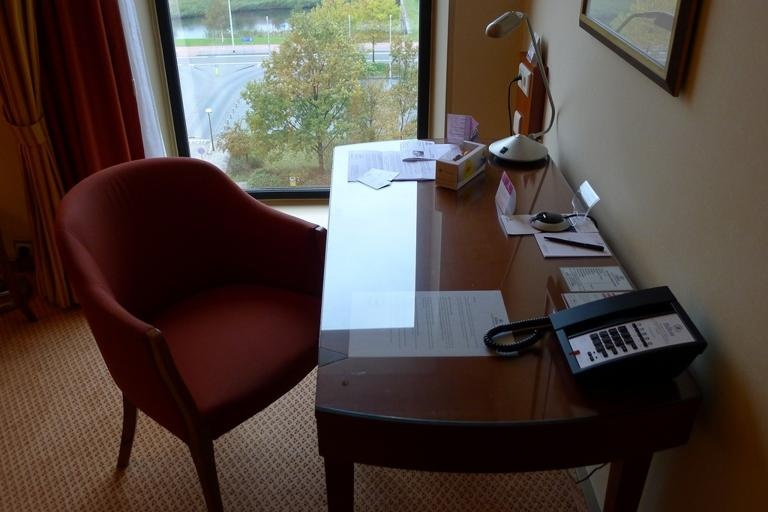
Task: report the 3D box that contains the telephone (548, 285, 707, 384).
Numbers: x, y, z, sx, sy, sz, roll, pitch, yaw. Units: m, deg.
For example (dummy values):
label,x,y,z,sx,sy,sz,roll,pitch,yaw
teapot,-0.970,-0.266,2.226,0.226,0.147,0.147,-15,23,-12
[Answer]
label,x,y,z,sx,sy,sz,roll,pitch,yaw
telephone,0.666,0.212,1.495,0.307,0.130,0.250,-13,49,7

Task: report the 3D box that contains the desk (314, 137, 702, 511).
label,x,y,z,sx,sy,sz,roll,pitch,yaw
desk,0.224,0.483,1.916,0.842,0.724,1.458,-5,42,-1

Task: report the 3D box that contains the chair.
label,x,y,z,sx,sy,sz,roll,pitch,yaw
chair,-0.729,0.346,2.077,0.716,1.063,0.747,25,41,27
